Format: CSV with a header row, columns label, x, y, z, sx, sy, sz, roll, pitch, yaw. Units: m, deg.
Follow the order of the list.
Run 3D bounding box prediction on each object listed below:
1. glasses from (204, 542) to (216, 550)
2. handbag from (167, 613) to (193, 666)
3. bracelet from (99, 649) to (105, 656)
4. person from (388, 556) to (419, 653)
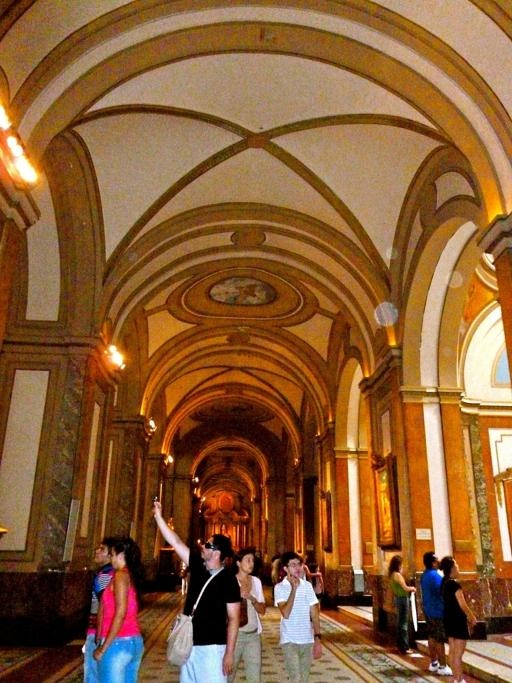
label,x,y,z,sx,sy,sz,roll,pitch,yaw
glasses,-0.181,0.811,1.871,0.041,0.040,0.016,-1,0,6
handbag,-0.268,1.057,1.665,0.082,0.155,0.120,5,-24,-8
bracelet,-0.549,1.110,1.683,0.014,0.008,0.014,2,-27,36
person,1.863,3.291,5.942,0.305,1.088,1.142,-6,-25,16
